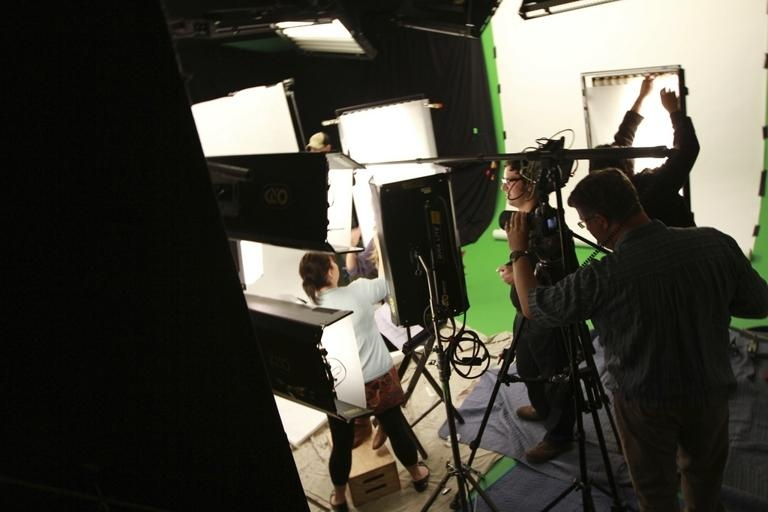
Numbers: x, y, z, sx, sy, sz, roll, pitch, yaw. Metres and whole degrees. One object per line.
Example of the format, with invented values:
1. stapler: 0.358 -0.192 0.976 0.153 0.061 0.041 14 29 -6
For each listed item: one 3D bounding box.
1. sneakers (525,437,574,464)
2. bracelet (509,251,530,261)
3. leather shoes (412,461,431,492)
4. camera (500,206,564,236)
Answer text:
1. sneakers: 1.075 1.265 3.935 0.332 0.134 0.124 -17 27 -8
2. bracelet: 0.686 -0.006 2.975 0.070 0.040 0.060 -4 4 1
3. leather shoes: 0.243 1.463 3.933 0.098 0.071 0.196 -2 40 12
4. camera: 0.787 -0.188 3.110 0.157 0.127 0.263 -9 20 -38
